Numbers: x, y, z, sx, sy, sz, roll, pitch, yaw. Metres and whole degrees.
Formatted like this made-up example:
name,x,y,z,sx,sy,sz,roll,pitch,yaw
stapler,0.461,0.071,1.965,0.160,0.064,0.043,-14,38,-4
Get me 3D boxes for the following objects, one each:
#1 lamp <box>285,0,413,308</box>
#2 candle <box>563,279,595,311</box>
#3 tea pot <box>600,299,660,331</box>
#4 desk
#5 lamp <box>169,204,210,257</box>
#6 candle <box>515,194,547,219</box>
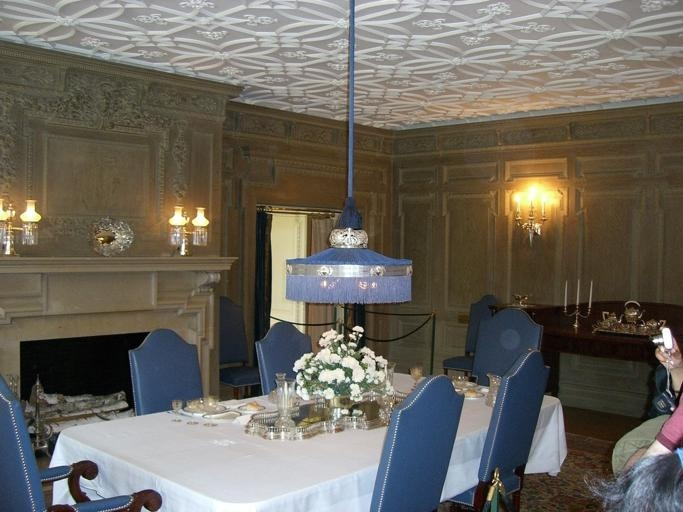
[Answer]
name,x,y,z,sx,sy,sz,roll,pitch,yaw
lamp,0.159,-0.720,3.524,0.689,2.064,1.710,3,5,8
candle,2.994,0.496,6.700,0.391,0.505,0.071,0,-8,13
tea pot,3.256,0.678,6.054,0.492,0.219,0.349,0,0,30
desk,2.844,1.209,5.705,0.815,1.045,1.462,-2,3,-42
lamp,-1.604,-0.232,5.629,0.534,0.641,0.450,1,-3,-33
candle,2.511,-0.663,7.134,0.428,0.338,0.225,4,6,26
